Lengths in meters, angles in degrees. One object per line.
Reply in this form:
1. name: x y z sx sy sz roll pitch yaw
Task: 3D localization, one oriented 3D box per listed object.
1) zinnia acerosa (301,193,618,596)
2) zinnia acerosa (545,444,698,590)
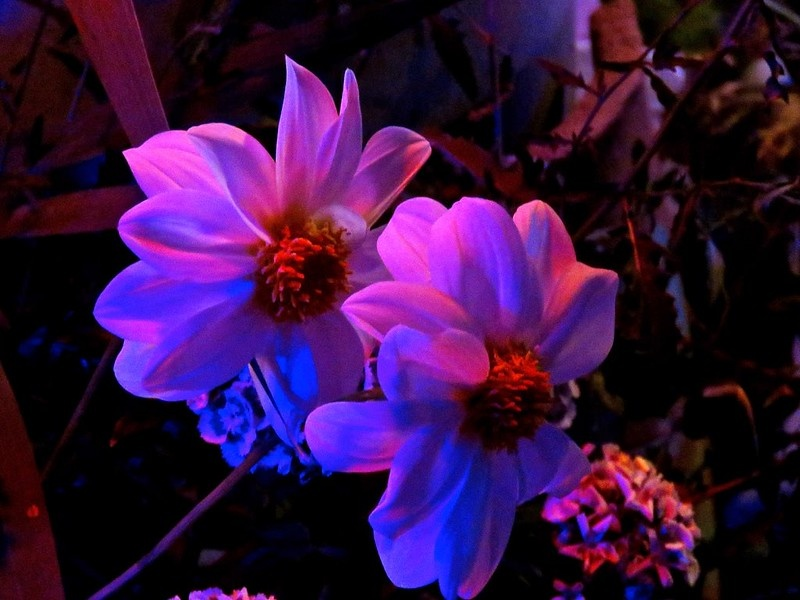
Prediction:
1. zinnia acerosa: 0.059 0.041 0.594 0.240 0.260 0.105 -27 15 -14
2. zinnia acerosa: 0.181 0.190 0.713 0.116 0.132 0.057 12 1 -12
